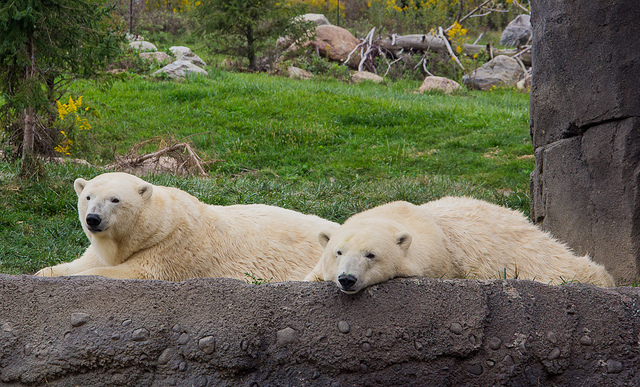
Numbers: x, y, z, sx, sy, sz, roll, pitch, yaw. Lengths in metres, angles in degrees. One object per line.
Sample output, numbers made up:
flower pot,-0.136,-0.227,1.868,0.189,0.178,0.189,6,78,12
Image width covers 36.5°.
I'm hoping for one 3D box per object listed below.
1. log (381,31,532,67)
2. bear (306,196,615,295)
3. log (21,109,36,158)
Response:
log,3.983,-4.417,29.015,4.234,0.789,1.319,8,21,14
bear,2.091,0.801,15.093,4.166,0.992,1.249,-2,20,-11
log,-5.437,-1.139,18.036,0.242,0.841,0.673,-4,20,-14
